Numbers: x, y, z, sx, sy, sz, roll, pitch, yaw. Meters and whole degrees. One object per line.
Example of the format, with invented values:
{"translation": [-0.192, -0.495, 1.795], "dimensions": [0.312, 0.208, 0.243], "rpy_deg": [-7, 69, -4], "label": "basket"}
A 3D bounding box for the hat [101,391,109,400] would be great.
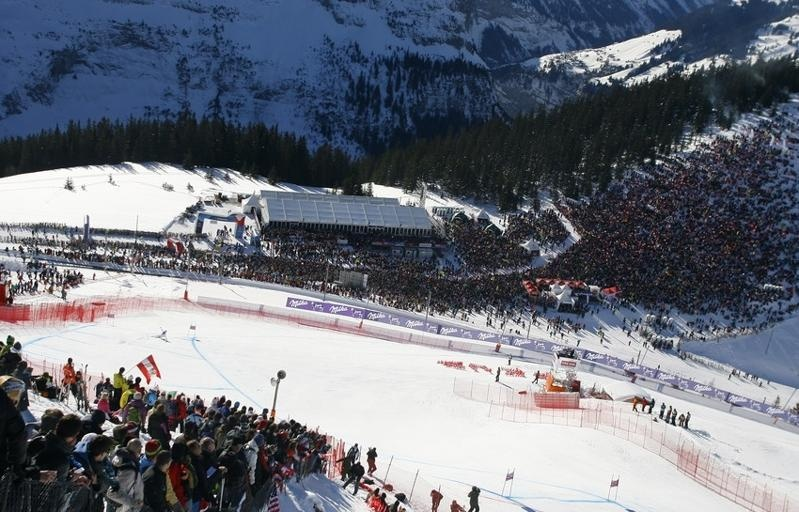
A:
{"translation": [-33.760, 16.104, 105.220], "dimensions": [0.680, 0.885, 0.743], "rpy_deg": [-5, -27, -41], "label": "hat"}

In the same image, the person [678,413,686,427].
{"translation": [36.966, 21.720, 119.910], "dimensions": [1.479, 1.559, 0.752], "rpy_deg": [2, 0, -37], "label": "person"}
